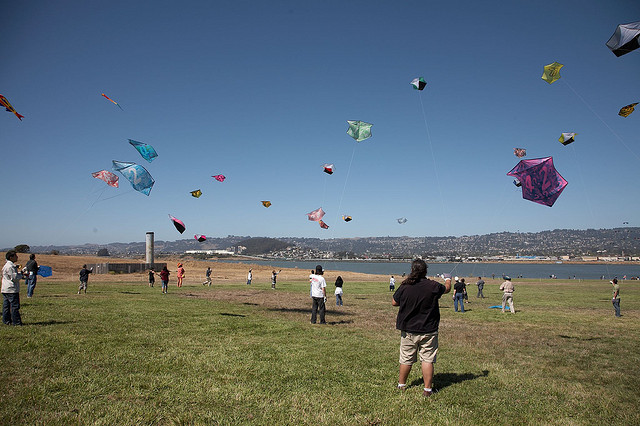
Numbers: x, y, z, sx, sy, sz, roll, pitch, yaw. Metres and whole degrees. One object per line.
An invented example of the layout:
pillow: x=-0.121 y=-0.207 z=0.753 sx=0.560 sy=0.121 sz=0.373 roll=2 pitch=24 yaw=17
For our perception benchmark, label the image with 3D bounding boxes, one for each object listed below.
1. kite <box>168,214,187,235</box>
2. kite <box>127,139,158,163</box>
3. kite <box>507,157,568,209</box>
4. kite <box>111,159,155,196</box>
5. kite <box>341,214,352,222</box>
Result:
kite: x=-6.571 y=0.576 z=20.470 sx=0.196 sy=0.528 sz=1.455 roll=-27 pitch=4 yaw=-6
kite: x=-10.074 y=-3.558 z=25.309 sx=0.996 sy=1.234 sz=2.296 roll=3 pitch=-7 yaw=-20
kite: x=11.180 y=-1.627 z=22.305 sx=0.921 sy=2.141 sz=2.242 roll=-25 pitch=-21 yaw=-33
kite: x=-10.870 y=-2.637 z=26.279 sx=1.567 sy=0.544 sz=5.076 roll=-21 pitch=-22 yaw=-25
kite: x=1.367 y=0.259 z=22.074 sx=0.423 sy=0.218 sz=0.602 roll=3 pitch=-36 yaw=52
